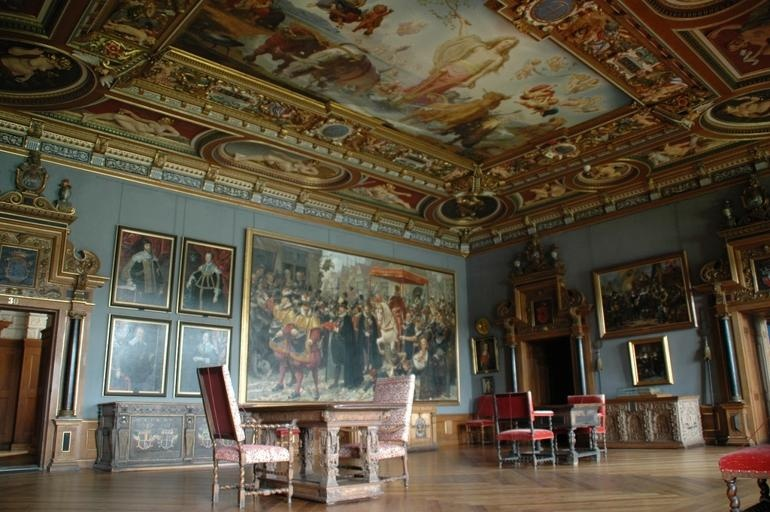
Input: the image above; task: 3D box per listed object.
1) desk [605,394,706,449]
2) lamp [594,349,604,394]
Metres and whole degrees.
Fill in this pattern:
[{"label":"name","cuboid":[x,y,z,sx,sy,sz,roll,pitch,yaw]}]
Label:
[{"label":"desk","cuboid":[6.555,4.076,13.283,2.074,1.248,0.894,-7,-19,18]},{"label":"lamp","cuboid":[5.919,3.188,15.048,0.170,1.175,0.271,7,-20,-20]}]
